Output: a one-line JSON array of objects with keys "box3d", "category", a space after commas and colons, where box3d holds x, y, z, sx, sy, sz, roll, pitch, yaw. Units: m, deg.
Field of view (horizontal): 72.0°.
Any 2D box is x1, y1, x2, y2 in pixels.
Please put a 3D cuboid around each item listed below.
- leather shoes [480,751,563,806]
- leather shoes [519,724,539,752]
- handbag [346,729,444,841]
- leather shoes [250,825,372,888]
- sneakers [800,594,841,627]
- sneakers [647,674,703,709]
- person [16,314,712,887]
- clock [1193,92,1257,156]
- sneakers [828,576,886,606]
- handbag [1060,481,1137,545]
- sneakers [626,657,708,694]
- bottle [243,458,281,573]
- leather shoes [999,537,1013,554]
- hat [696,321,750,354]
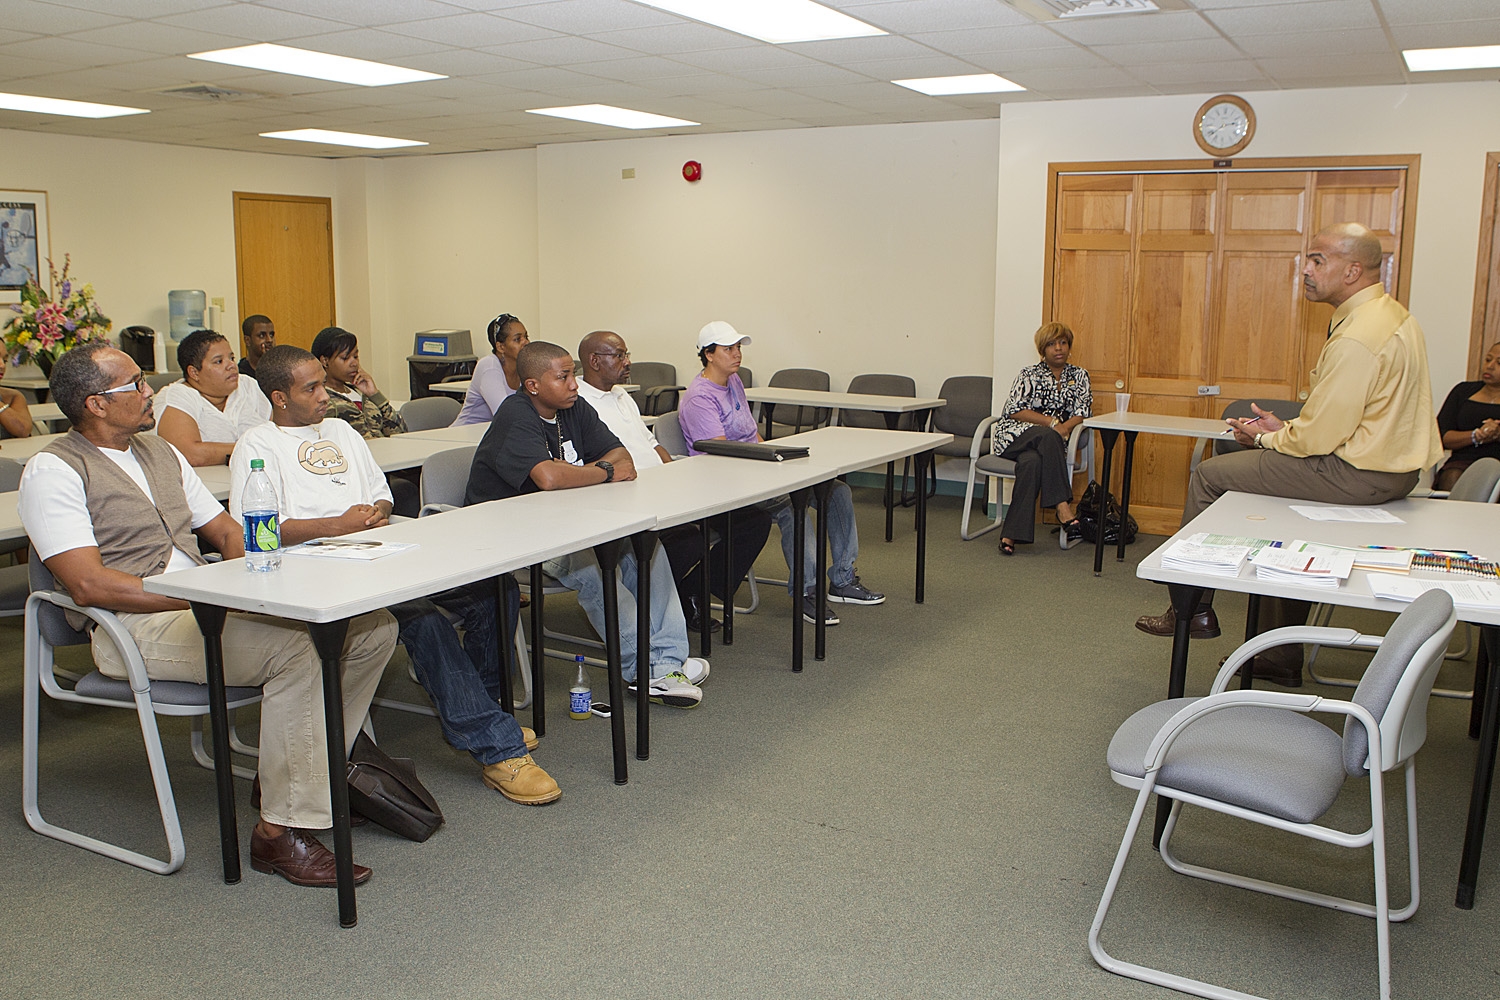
[{"box3d": [-0.851, 1.045, 3.932, 0.323, 0.128, 0.141, 5, 8, 25], "category": "leather shoes"}, {"box3d": [-0.901, 0.974, 4.236, 0.054, 0.051, 0.139, -1, 0, -34], "category": "leather shoes"}, {"box3d": [-1.285, 1.044, 3.712, 0.161, 0.455, 0.286, -46, 8, 1], "category": "handbag"}, {"box3d": [-1.501, 1.186, 3.537, 0.494, 0.207, 0.175, 2, 4, 17], "category": "leather shoes"}, {"box3d": [0.430, 0.606, 5.650, 0.120, 0.130, 0.344, -1, 1, -39], "category": "sneakers"}, {"box3d": [-0.328, 0.853, 4.615, 0.275, 0.116, 0.103, 2, 8, 4], "category": "sneakers"}, {"box3d": [-1.825, 0.327, 3.694, 1.182, 1.743, 0.824, 4, 15, 24], "category": "person"}, {"box3d": [3.210, -2.520, 6.922, 0.480, 0.451, 0.109, -1, 5, 32], "category": "clock"}, {"box3d": [0.616, 0.539, 6.081, 0.403, 0.169, 0.135, 2, 2, 7], "category": "sneakers"}, {"box3d": [2.397, 0.110, 7.102, 0.557, 0.506, 0.350, 4, 3, 20], "category": "handbag"}, {"box3d": [-0.367, 0.773, 4.733, 0.382, 0.157, 0.129, -8, 31, -14], "category": "sneakers"}, {"box3d": [-1.657, 0.044, 3.483, 0.107, 0.302, 0.373, -8, 15, -26], "category": "bottle"}, {"box3d": [1.756, 0.310, 7.045, 0.106, 0.068, 0.202, 1, 4, 14], "category": "leather shoes"}, {"box3d": [-0.211, -0.902, 5.727, 0.368, 0.170, 0.268, -3, 7, 23], "category": "hat"}]
